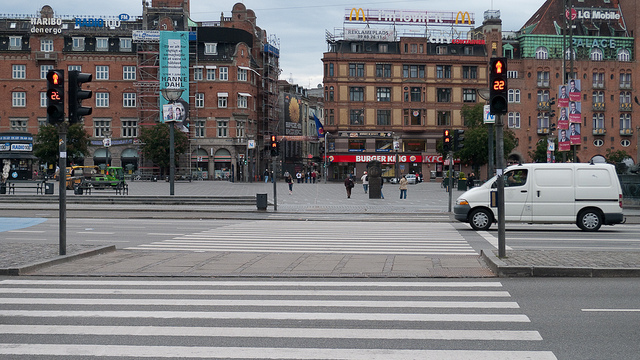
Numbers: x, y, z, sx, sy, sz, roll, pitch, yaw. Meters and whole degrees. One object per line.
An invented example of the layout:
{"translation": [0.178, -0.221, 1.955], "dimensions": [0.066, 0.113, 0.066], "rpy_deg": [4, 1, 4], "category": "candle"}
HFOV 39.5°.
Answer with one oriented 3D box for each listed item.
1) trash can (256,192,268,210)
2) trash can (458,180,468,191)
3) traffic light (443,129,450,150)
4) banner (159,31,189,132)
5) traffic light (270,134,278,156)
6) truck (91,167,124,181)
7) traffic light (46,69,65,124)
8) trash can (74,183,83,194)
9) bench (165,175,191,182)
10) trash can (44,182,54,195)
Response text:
{"translation": [-5.404, 2.061, 80.782], "dimensions": [0.859, 1.430, 0.542], "rpy_deg": [-1, 1, -2], "category": "trash can"}
{"translation": [16.416, 0.703, 103.467], "dimensions": [1.451, 1.268, 0.950], "rpy_deg": [-1, -1, -8], "category": "trash can"}
{"translation": [11.248, -3.634, 80.013], "dimensions": [0.519, 1.773, 0.820], "rpy_deg": [0, 1, 3], "category": "traffic light"}
{"translation": [-22.977, -15.261, 137.994], "dimensions": [5.025, 15.506, 1.383], "rpy_deg": [-4, 12, -31], "category": "banner"}
{"translation": [-4.286, -3.104, 81.753], "dimensions": [0.604, 1.880, 0.997], "rpy_deg": [-1, 1, -5], "category": "traffic light"}
{"translation": [-23.869, -0.472, 101.296], "dimensions": [2.801, 1.227, 1.862], "rpy_deg": [-1, -1, 5], "category": "truck"}
{"translation": [-19.007, -5.933, 63.799], "dimensions": [1.111, 3.874, 0.756], "rpy_deg": [-1, 1, -15], "category": "traffic light"}
{"translation": [-24.874, 1.009, 91.414], "dimensions": [1.247, 1.125, 2.181], "rpy_deg": [-1, 2, -15], "category": "trash can"}
{"translation": [-20.465, -0.122, 129.101], "dimensions": [2.983, 0.939, 16.661], "rpy_deg": [0, 0, -7], "category": "bench"}
{"translation": [-27.344, 0.925, 89.699], "dimensions": [0.871, 1.153, 1.513], "rpy_deg": [-1, 1, -18], "category": "trash can"}
